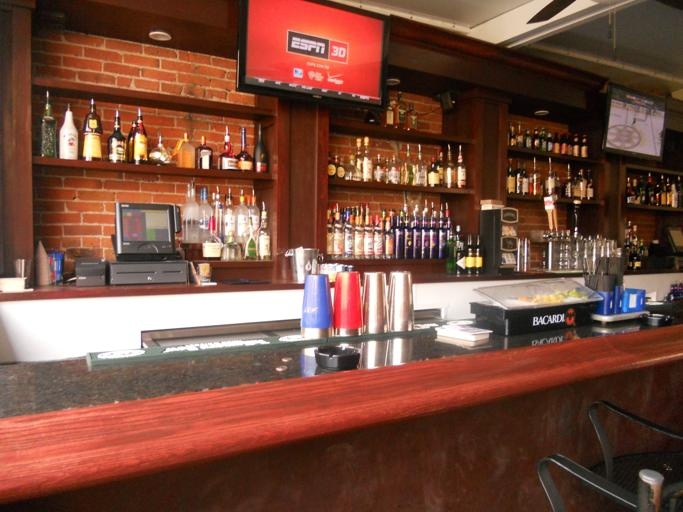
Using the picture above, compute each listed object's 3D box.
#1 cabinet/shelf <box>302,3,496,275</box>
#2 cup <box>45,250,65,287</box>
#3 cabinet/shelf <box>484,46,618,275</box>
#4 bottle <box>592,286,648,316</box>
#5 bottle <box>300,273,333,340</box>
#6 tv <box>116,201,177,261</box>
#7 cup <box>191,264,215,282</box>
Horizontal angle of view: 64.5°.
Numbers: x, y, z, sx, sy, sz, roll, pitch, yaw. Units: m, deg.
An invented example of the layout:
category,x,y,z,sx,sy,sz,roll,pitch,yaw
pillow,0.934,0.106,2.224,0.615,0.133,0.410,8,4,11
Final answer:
category,x,y,z,sx,sy,sz,roll,pitch,yaw
cabinet/shelf,0.417,-0.884,4.055,1.903,1.844,0.566,2,-4,-29
cup,-1.641,0.063,3.108,0.079,0.174,0.118,-4,14,-25
cabinet/shelf,1.899,-0.968,5.048,1.351,1.545,0.589,-7,15,-34
bottle,1.223,0.175,2.392,0.192,0.067,0.134,-5,7,-31
bottle,-0.089,0.174,1.947,0.108,0.225,0.092,1,12,-2
tv,-1.123,-0.095,3.241,0.422,0.424,0.285,1,-8,-29
cup,-0.848,0.099,3.280,0.119,0.132,0.113,-1,-1,0
